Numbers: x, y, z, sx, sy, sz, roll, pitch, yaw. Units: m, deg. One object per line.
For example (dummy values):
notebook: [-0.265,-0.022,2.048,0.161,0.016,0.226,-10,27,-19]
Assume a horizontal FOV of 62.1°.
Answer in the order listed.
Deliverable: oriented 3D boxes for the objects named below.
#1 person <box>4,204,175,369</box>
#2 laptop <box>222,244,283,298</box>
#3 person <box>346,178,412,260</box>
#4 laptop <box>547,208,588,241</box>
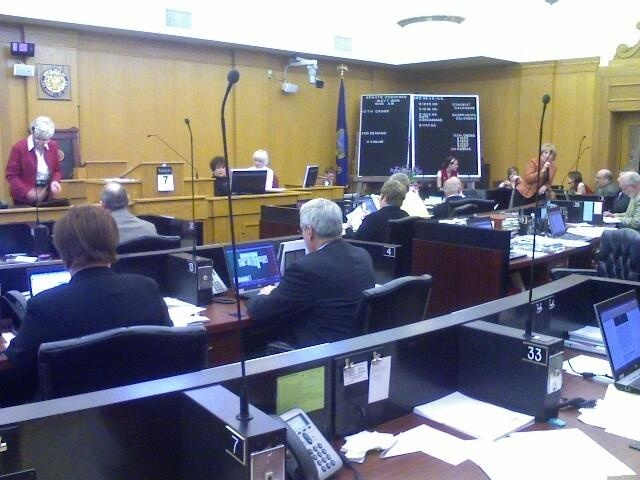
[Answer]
person: [-0.970,0.195,2.247,0.541,0.890,0.477,-9,25,-24]
laptop: [-0.423,0.137,3.251,0.336,0.251,0.280,-7,10,-38]
person: [0.592,-0.222,4.836,0.548,0.824,0.490,1,5,-41]
laptop: [2.418,-0.145,5.220,0.294,0.263,0.394,6,9,39]
